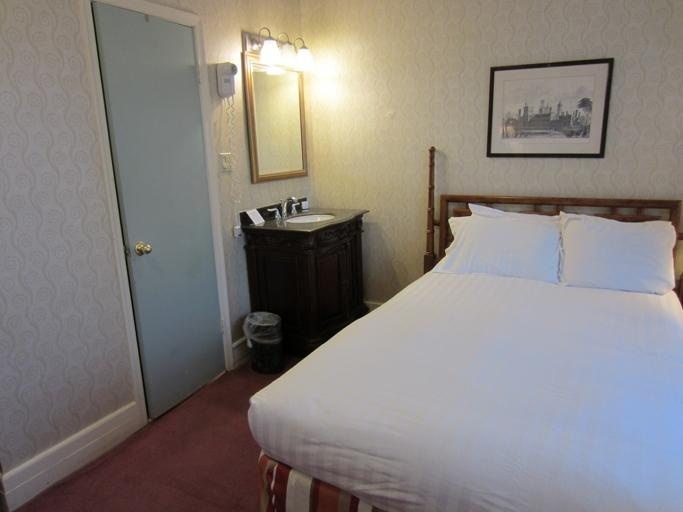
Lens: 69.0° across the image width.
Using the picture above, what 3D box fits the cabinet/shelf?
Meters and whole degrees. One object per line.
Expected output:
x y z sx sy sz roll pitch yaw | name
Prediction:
-0.190 0.163 4.003 0.514 1.120 0.952 6 17 29 | cabinet/shelf

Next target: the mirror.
-0.539 -1.115 3.874 0.043 1.148 0.911 4 13 25 | mirror

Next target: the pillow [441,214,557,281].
1.096 -0.040 3.491 0.809 0.377 0.341 5 16 22 | pillow

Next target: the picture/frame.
1.527 -1.083 3.552 0.678 0.596 0.027 5 14 27 | picture/frame

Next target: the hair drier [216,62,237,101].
-0.762 -1.216 3.413 0.121 0.238 0.211 5 16 24 | hair drier

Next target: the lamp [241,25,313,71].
-0.418 -1.623 3.824 0.282 0.323 0.751 6 17 26 | lamp

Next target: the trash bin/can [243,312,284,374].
-0.550 0.692 3.655 0.270 0.432 0.245 12 25 31 | trash bin/can

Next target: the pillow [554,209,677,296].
1.778 0.021 3.216 0.657 0.407 0.356 5 16 23 | pillow
